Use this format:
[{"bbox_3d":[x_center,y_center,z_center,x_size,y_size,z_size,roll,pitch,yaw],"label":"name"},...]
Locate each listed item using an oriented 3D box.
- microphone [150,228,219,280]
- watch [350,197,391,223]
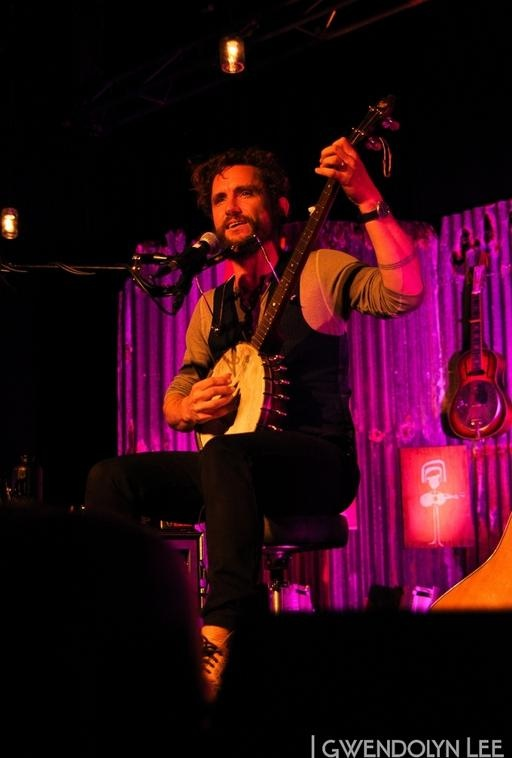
[{"bbox_3d":[-0.165,-0.334,2.601,0.104,0.064,0.202,24,40,24],"label":"microphone"},{"bbox_3d":[0.298,-0.417,2.359,0.074,0.052,0.078,6,34,44],"label":"watch"}]
